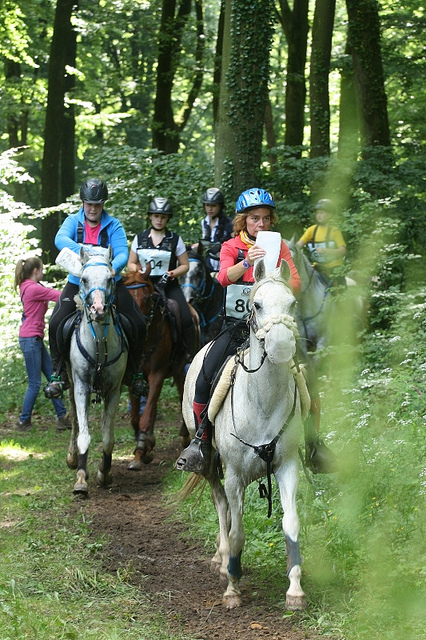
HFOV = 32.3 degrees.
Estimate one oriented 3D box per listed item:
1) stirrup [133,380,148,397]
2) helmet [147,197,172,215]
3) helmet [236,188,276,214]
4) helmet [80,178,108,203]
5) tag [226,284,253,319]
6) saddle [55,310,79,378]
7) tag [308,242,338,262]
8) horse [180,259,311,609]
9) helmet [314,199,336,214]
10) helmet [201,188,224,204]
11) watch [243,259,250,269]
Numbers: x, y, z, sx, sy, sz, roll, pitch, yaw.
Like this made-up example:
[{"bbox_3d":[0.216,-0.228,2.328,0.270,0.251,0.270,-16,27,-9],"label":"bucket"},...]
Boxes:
[{"bbox_3d":[-0.894,0.850,9.087,0.163,0.189,0.071,0,5,-15],"label":"stirrup"},{"bbox_3d":[-0.685,-1.493,9.629,0.306,0.224,0.207,5,0,-5],"label":"helmet"},{"bbox_3d":[0.299,-0.860,5.313,0.290,0.186,0.214,5,0,23],"label":"helmet"},{"bbox_3d":[-1.257,-1.397,7.770,0.234,0.151,0.298,2,32,-9],"label":"helmet"},{"bbox_3d":[0.186,-0.139,5.585,0.176,0.259,0.331,6,0,1],"label":"tag"},{"bbox_3d":[-1.548,0.276,8.276,0.218,0.687,0.478,11,-34,-4],"label":"saddle"},{"bbox_3d":[1.772,-1.116,11.740,0.363,0.267,0.271,-10,27,33],"label":"tag"},{"bbox_3d":[0.253,0.795,5.040,0.805,2.279,2.049,6,0,-2],"label":"horse"},{"bbox_3d":[1.764,-1.802,11.503,0.205,0.142,0.295,12,-5,34],"label":"helmet"},{"bbox_3d":[-0.013,-1.840,10.928,0.219,0.201,0.282,8,27,10],"label":"helmet"},{"bbox_3d":[0.232,-0.384,5.048,0.030,0.044,0.042,-33,-1,-18],"label":"watch"}]
